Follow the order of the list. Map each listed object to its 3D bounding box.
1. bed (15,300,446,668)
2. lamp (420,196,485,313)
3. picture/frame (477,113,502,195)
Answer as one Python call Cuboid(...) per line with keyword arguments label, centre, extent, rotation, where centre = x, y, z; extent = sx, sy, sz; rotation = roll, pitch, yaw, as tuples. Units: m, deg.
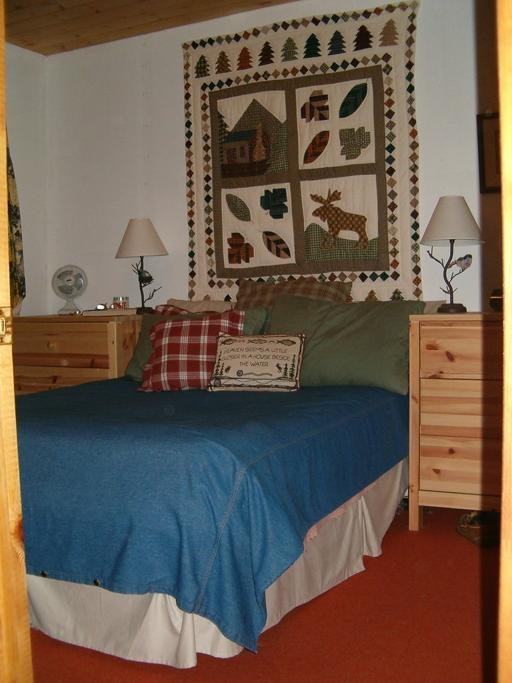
Cuboid(label="bed", centre=(0.002, 0.373, 2.015), extent=(0.976, 0.751, 1.379), rotation=(0, 2, 30))
Cuboid(label="lamp", centre=(0.960, -0.418, 2.812), extent=(0.298, 0.593, 0.699), rotation=(-1, 0, 18))
Cuboid(label="picture/frame", centre=(1.245, -1.012, 3.033), extent=(0.210, 0.378, 0.022), rotation=(-16, 14, -34))
